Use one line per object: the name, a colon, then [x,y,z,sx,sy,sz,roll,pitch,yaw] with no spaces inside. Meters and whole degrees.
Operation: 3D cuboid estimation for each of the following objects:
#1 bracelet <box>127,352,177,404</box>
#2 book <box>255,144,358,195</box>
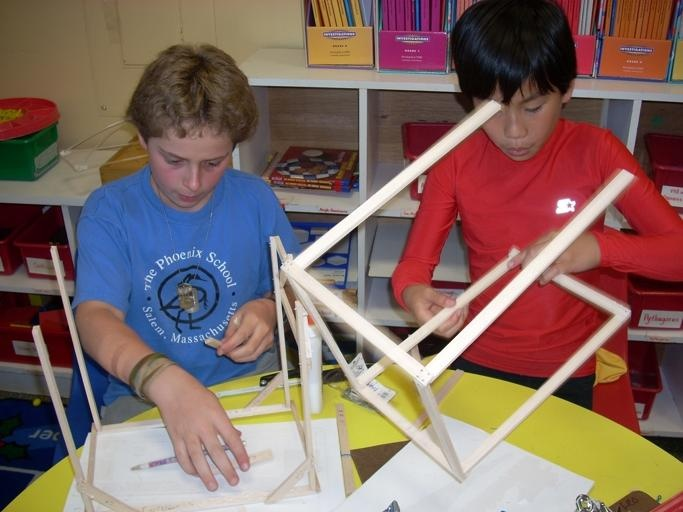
bracelet: [-0.437,0.272,1.223,0.087,0.041,0.106,30,54,3]
book: [-0.112,-0.384,2.321,0.248,0.059,0.279,5,34,7]
